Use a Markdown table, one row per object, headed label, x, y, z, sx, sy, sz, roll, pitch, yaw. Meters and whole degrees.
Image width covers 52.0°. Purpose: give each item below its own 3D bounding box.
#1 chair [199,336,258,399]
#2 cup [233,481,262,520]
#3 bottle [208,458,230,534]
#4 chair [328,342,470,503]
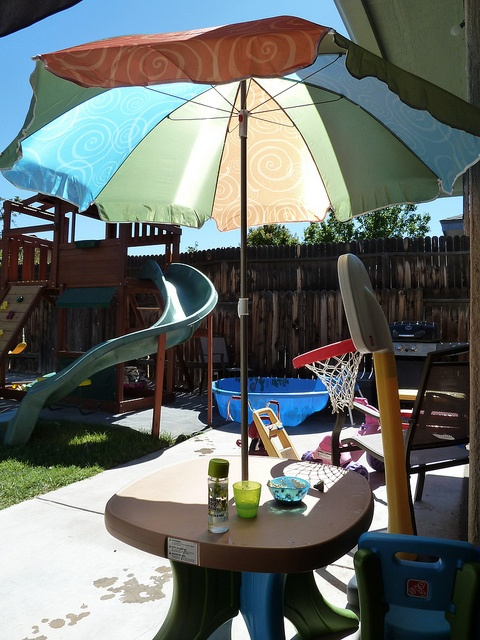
| label | x | y | z | sx | sy | sz | roll | pitch | yaw |
| --- | --- | --- | --- | --- | --- | --- | --- | --- | --- |
| chair | -0.376 | 0.693 | 7.831 | 0.740 | 1.145 | 0.800 | 1 | -2 | -30 |
| cup | 0.019 | 0.502 | 1.371 | 0.077 | 0.079 | 0.085 | 0 | -6 | -3 |
| bottle | -0.059 | 0.456 | 1.302 | 0.051 | 0.130 | 0.136 | 1 | -1 | -4 |
| chair | 0.991 | 0.478 | 2.812 | 0.630 | 1.034 | 0.723 | -1 | 5 | -28 |
